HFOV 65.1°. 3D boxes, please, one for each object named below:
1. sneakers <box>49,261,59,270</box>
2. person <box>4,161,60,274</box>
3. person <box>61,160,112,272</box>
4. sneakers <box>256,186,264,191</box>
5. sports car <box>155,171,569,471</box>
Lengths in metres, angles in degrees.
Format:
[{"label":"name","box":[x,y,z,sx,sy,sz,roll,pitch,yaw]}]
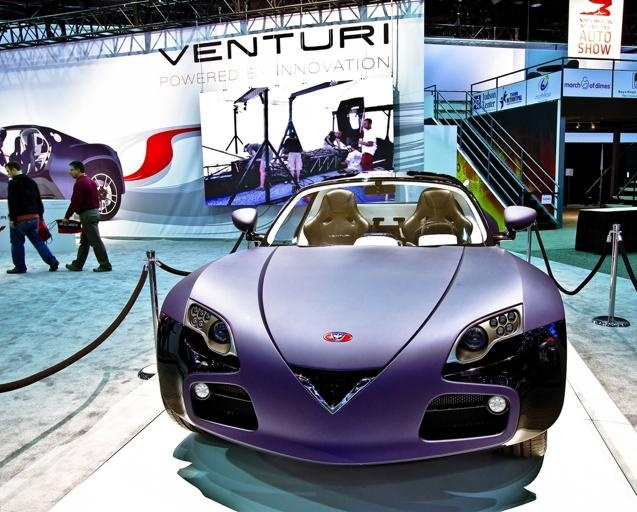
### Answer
[{"label":"sneakers","box":[-4.365,0.170,8.257,0.120,0.153,0.160,-1,1,-6]},{"label":"person","box":[-4.779,-0.637,8.186,0.758,1.790,0.681,-4,10,-15]},{"label":"person","box":[-3.814,-0.637,8.087,0.615,1.789,0.870,-11,13,-42]},{"label":"sneakers","box":[-1.322,-1.501,11.137,0.184,0.064,0.126,2,-21,2]},{"label":"sports car","box":[0.424,0.156,3.661,1.943,1.302,3.389,-1,8,12]}]
